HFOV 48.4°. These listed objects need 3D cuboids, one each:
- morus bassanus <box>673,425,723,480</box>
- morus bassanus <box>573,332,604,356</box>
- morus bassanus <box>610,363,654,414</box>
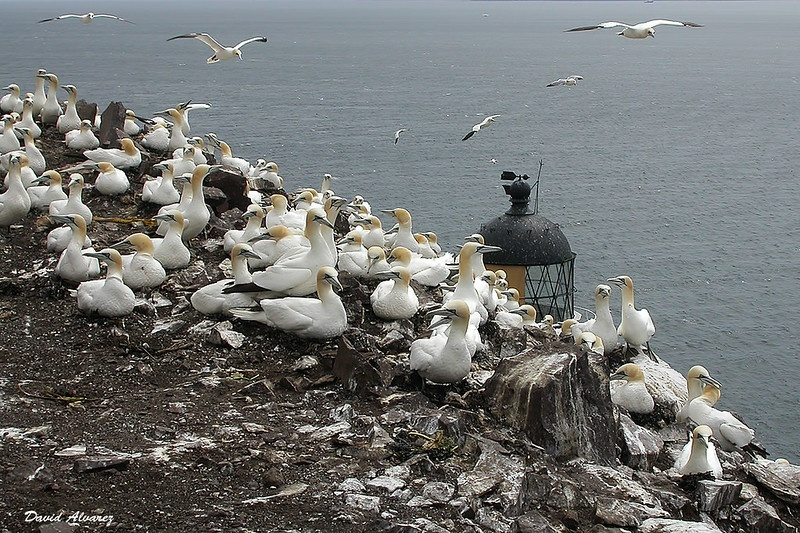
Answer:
[{"bbox_3d":[5.442,3.397,16.127,0.427,0.670,1.002,-23,-1,-9],"label":"morus bassanus"},{"bbox_3d":[4.028,1.625,18.729,0.464,0.476,1.308,26,10,12],"label":"morus bassanus"},{"bbox_3d":[4.730,2.488,18.212,0.831,0.901,1.017,-2,17,-6],"label":"morus bassanus"}]
